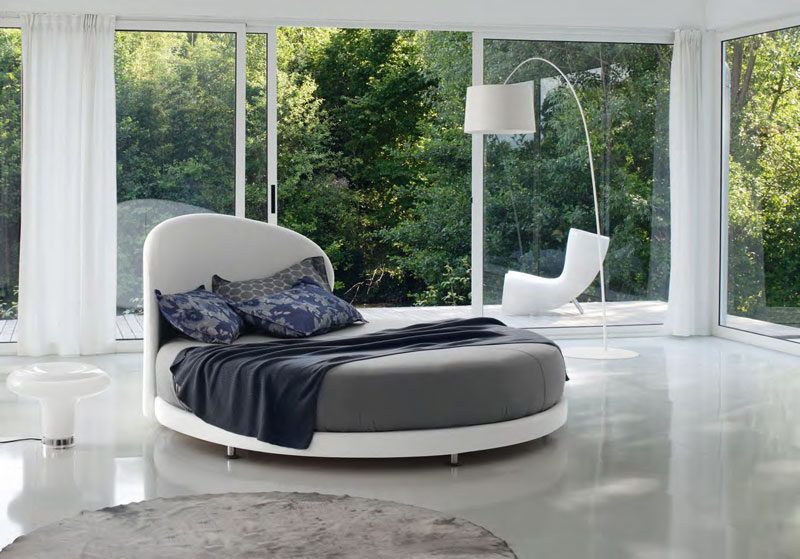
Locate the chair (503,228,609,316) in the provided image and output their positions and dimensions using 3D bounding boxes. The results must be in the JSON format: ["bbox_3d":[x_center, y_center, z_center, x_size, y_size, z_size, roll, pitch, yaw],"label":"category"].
[{"bbox_3d":[1.549,-0.041,7.640,0.980,0.836,0.579,-1,-2,22],"label":"chair"}]

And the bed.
[{"bbox_3d":[-0.421,0.418,4.672,2.155,1.243,1.718,0,0,34],"label":"bed"}]
